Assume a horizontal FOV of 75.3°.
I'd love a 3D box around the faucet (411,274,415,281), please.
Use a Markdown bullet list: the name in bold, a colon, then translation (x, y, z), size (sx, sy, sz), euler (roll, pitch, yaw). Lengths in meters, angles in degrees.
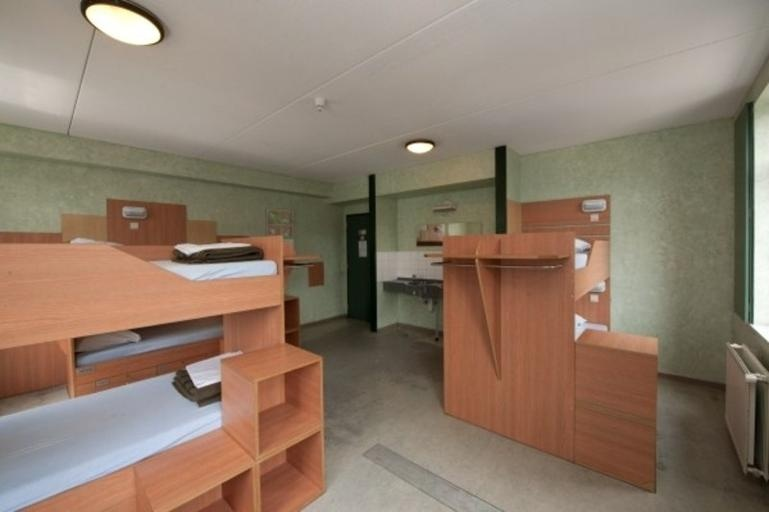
- **faucet**: translation (0.489, 0.364, 8.667), size (0.067, 0.102, 0.141), euler (0, 4, -8)
